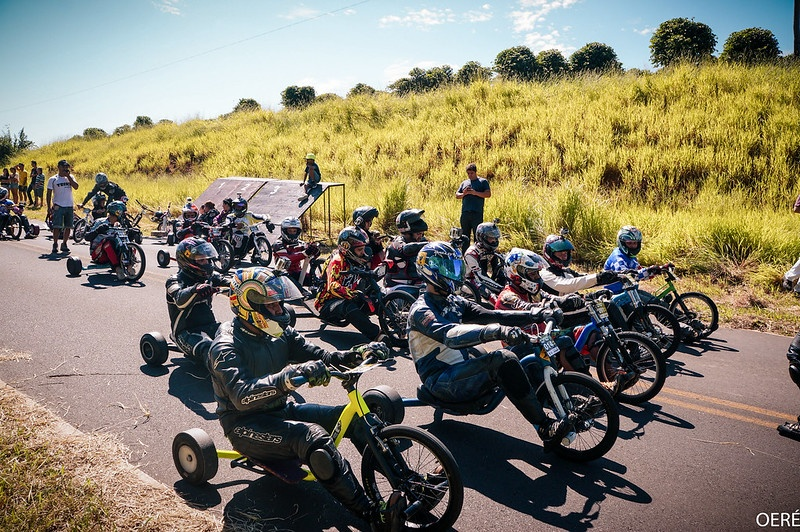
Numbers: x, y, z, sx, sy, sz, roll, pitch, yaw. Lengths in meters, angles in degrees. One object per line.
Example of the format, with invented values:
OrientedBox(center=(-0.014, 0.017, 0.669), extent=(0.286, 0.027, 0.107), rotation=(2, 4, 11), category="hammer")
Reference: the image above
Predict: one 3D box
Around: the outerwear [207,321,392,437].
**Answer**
OrientedBox(center=(-1.225, 1.118, 6.355), extent=(1.494, 1.023, 1.438), rotation=(3, 9, 24), category="outerwear")

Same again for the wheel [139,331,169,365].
OrientedBox(center=(-3.800, 1.306, 8.811), extent=(0.397, 0.397, 0.132), rotation=(-23, -9, 32), category="wheel")

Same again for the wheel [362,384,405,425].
OrientedBox(center=(-0.198, 1.659, 6.732), extent=(0.501, 0.511, 0.275), rotation=(20, 9, 37), category="wheel")

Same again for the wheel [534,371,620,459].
OrientedBox(center=(2.062, 1.811, 6.762), extent=(0.989, 1.007, 0.318), rotation=(4, 6, 39), category="wheel")

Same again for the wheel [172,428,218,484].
OrientedBox(center=(-2.313, 2.144, 6.416), extent=(0.588, 0.593, 0.210), rotation=(3, 8, 34), category="wheel")

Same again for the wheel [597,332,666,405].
OrientedBox(center=(3.100, 1.407, 7.715), extent=(0.948, 0.964, 0.425), rotation=(4, 3, 34), category="wheel")
